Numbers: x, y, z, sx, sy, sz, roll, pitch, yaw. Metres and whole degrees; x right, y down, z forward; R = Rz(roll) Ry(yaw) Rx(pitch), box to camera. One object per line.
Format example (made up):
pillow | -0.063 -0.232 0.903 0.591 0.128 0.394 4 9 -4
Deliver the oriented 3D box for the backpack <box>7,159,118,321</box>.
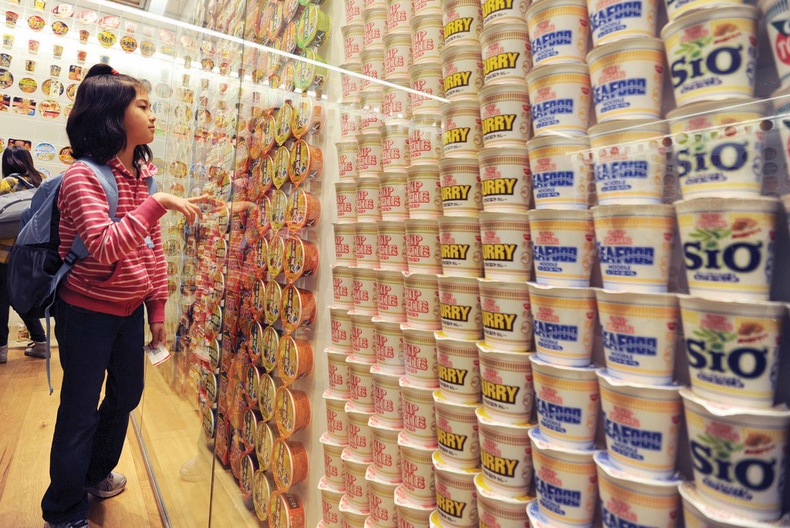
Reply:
backpack | -1.341 -0.060 2.045 0.376 0.553 0.157 3 1 33

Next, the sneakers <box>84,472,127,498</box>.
sneakers | -1.344 1.054 2.530 0.077 0.079 0.187 10 11 35
